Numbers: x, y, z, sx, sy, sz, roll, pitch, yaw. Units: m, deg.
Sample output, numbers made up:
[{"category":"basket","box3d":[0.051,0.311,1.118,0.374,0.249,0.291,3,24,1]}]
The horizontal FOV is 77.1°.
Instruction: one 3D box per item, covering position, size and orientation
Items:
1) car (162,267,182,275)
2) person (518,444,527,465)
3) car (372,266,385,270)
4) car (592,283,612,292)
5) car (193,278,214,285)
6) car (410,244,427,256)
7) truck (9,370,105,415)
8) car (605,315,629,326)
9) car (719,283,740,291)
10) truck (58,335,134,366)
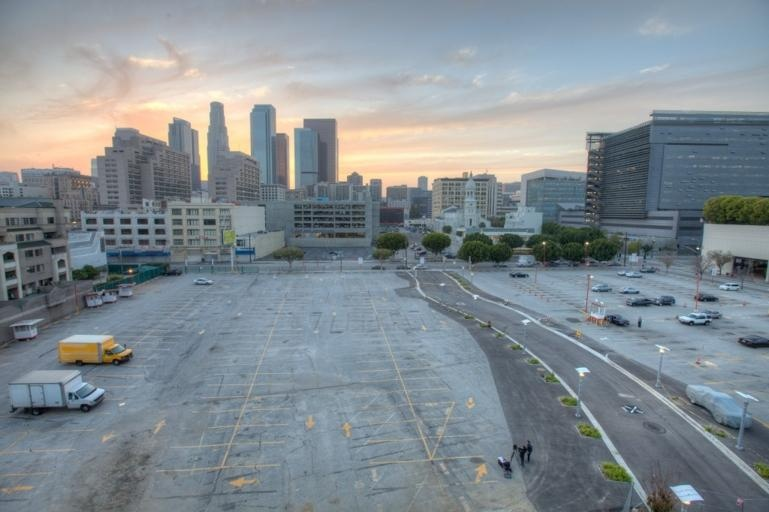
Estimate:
[{"category":"car","box3d":[-51.115,3.674,117.359,3.738,1.585,4.228,0,12,-5]},{"category":"person","box3d":[15.128,21.655,52.271,0.992,1.728,1.115,1,14,1]},{"category":"car","box3d":[-1.494,3.021,128.620,3.353,0.868,4.411,0,12,-3]},{"category":"car","box3d":[46.658,6.905,103.048,3.518,1.367,2.025,2,-1,3]},{"category":"car","box3d":[-40.030,5.754,106.732,5.340,0.946,3.144,7,14,29]},{"category":"car","box3d":[12.325,-1.712,167.251,2.977,3.281,8.722,0,-4,-10]},{"category":"truck","box3d":[-39.193,16.521,58.804,9.494,4.084,5.107,1,6,-9]},{"category":"car","box3d":[39.309,10.971,81.139,1.939,1.388,3.069,-1,1,-16]},{"category":"car","box3d":[75.231,6.954,104.336,3.843,1.175,2.142,1,2,8]},{"category":"truck","box3d":[-39.855,13.428,66.905,8.668,3.087,4.299,1,6,-8]}]
